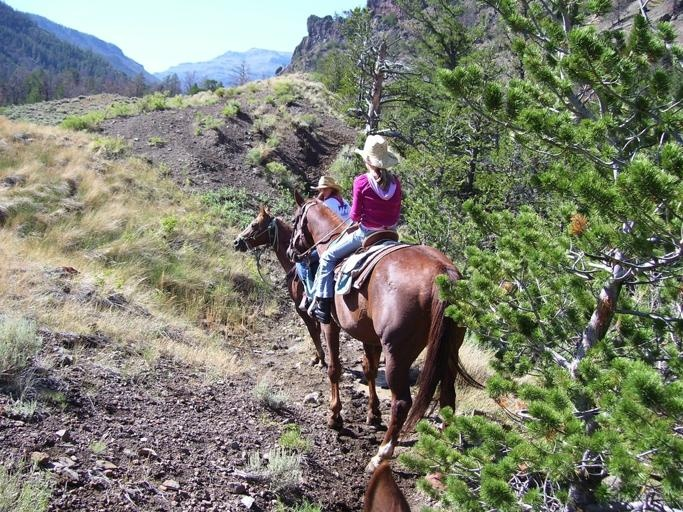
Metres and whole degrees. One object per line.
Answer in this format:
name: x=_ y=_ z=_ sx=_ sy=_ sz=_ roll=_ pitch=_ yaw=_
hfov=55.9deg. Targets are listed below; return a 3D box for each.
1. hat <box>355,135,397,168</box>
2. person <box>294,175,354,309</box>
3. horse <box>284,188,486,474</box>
hat: x=0.507 y=-1.372 z=8.483 sx=0.483 sy=0.427 sz=0.385 roll=9 pitch=8 yaw=-7
person: x=-0.235 y=-0.088 z=10.258 sx=0.377 sy=1.232 sz=1.600 roll=1 pitch=4 yaw=31
horse: x=0.363 y=0.946 z=9.329 sx=1.091 sy=3.478 sz=4.332 roll=-6 pitch=8 yaw=-28
